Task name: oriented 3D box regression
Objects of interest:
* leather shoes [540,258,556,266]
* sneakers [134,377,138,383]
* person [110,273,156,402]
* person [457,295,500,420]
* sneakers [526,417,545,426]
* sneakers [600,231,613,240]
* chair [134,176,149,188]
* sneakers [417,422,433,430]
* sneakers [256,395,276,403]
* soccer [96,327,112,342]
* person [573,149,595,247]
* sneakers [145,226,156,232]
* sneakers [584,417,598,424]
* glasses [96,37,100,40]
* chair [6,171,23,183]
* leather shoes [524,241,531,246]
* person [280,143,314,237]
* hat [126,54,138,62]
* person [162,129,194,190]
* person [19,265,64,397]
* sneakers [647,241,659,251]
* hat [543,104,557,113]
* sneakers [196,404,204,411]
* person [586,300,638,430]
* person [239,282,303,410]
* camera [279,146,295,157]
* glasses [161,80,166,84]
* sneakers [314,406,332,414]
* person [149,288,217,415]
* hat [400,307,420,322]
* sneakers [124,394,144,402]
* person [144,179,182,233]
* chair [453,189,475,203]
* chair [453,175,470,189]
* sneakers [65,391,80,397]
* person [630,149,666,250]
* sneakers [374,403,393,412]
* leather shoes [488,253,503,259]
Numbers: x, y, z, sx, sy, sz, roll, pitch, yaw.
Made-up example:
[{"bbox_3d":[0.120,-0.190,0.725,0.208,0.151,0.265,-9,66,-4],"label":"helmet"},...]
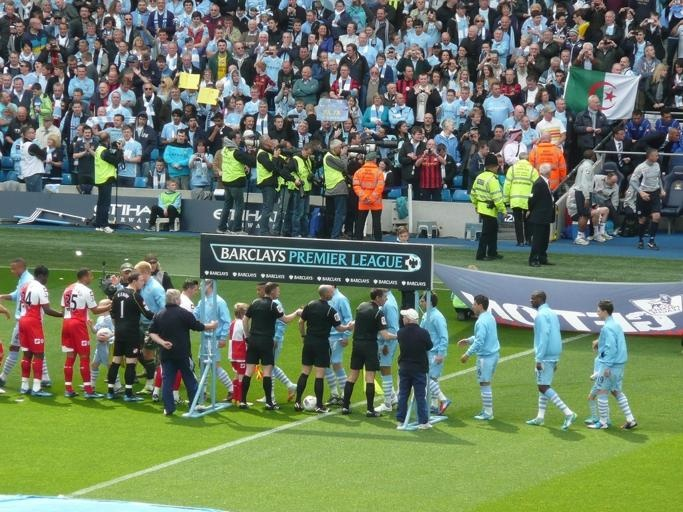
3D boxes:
[{"bbox_3d":[5.180,0.136,36.361,0.405,0.277,0.148,-4,10,-21],"label":"leather shoes"},{"bbox_3d":[-4.404,2.613,30.723,0.083,0.106,0.248,0,-8,-8],"label":"sneakers"},{"bbox_3d":[-4.431,1.644,29.930,0.946,2.656,0.560,-1,0,5],"label":"person"},{"bbox_3d":[2.828,2.029,29.318,0.693,2.456,0.860,-1,0,4],"label":"person"},{"bbox_3d":[3.908,3.292,29.103,0.393,0.174,0.144,4,-3,18],"label":"sneakers"},{"bbox_3d":[7.298,-0.555,39.705,0.435,0.199,0.150,3,4,-39],"label":"sneakers"},{"bbox_3d":[-5.956,-2.176,42.784,0.308,0.283,0.318,2,11,-6],"label":"chair"},{"bbox_3d":[1.668,3.348,28.862,0.295,0.128,0.105,-4,9,-44],"label":"sneakers"},{"bbox_3d":[-1.598,2.976,30.144,0.439,0.196,0.152,5,0,5],"label":"sneakers"},{"bbox_3d":[-4.969,1.615,30.042,0.226,0.251,0.312,4,-5,2],"label":"soccer"},{"bbox_3d":[6.576,-1.456,39.103,0.510,2.392,0.950,-1,0,9],"label":"person"},{"bbox_3d":[-5.543,-0.774,41.553,0.337,0.139,0.119,6,4,34],"label":"sneakers"},{"bbox_3d":[5.020,3.273,29.032,0.231,0.236,0.116,2,0,20],"label":"sneakers"},{"bbox_3d":[-7.696,-6.779,45.363,0.162,0.046,0.181,12,28,14],"label":"glasses"},{"bbox_3d":[-9.992,-2.402,43.928,0.521,0.359,1.014,-1,0,-13],"label":"chair"},{"bbox_3d":[5.021,-0.301,38.916,0.109,0.143,0.199,5,-7,-33],"label":"leather shoes"},{"bbox_3d":[-1.233,-1.762,39.011,0.906,2.454,0.865,-1,0,-4],"label":"person"},{"bbox_3d":[-6.386,-5.959,43.909,0.291,0.279,0.219,-13,21,-39],"label":"hat"},{"bbox_3d":[-4.735,-2.524,41.914,0.787,2.243,0.659,3,20,6],"label":"person"},{"bbox_3d":[-6.452,1.543,30.360,0.699,2.766,0.838,-1,0,-13],"label":"person"},{"bbox_3d":[8.339,-0.290,38.466,0.256,0.204,0.415,-1,0,38],"label":"sneakers"},{"bbox_3d":[5.677,-4.019,39.334,0.332,0.159,0.442,-2,3,17],"label":"hat"},{"bbox_3d":[-2.907,3.069,29.493,0.226,0.101,0.076,3,-4,-5],"label":"sneakers"},{"bbox_3d":[5.377,2.142,28.727,0.753,2.521,1.054,1,-1,-40],"label":"person"},{"bbox_3d":[-1.585,1.824,29.560,1.188,2.576,0.693,-1,0,41],"label":"person"},{"bbox_3d":[-1.500,-2.810,39.108,0.308,0.168,0.421,1,-1,-2],"label":"camera"},{"bbox_3d":[-5.411,-5.189,43.457,0.063,0.139,0.194,-1,0,-34],"label":"glasses"},{"bbox_3d":[-0.387,3.107,29.633,0.331,0.154,0.121,-1,11,-21],"label":"sneakers"},{"bbox_3d":[-3.266,1.902,29.473,1.312,2.441,1.059,0,7,-5],"label":"person"},{"bbox_3d":[1.347,1.169,28.817,0.286,0.154,0.218,33,21,31],"label":"hat"},{"bbox_3d":[-4.358,2.909,30.093,0.463,0.201,0.154,0,1,-10],"label":"sneakers"},{"bbox_3d":[-5.019,-1.434,41.459,0.956,1.440,0.741,-1,0,30],"label":"person"},{"bbox_3d":[3.423,-1.664,40.277,0.492,0.331,0.450,1,-8,4],"label":"chair"},{"bbox_3d":[3.453,-2.117,41.473,0.379,0.520,0.412,1,-3,5],"label":"chair"},{"bbox_3d":[-5.676,2.850,30.132,0.225,0.158,0.104,1,7,-10],"label":"sneakers"},{"bbox_3d":[8.219,-1.507,38.556,0.931,2.663,0.864,-3,3,-20],"label":"person"},{"bbox_3d":[0.875,3.089,29.745,0.336,0.160,0.146,2,1,1],"label":"sneakers"},{"bbox_3d":[3.957,0.001,36.952,0.337,0.149,0.132,-2,8,-12],"label":"leather shoes"}]
